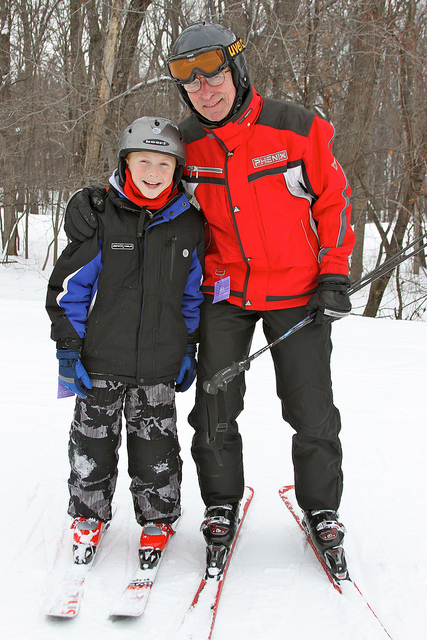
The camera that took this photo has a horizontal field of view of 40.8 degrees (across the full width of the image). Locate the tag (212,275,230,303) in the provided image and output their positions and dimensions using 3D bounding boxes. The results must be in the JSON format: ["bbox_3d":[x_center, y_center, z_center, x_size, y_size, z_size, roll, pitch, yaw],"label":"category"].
[{"bbox_3d":[0.027,-0.113,2.160,0.007,0.091,0.084,22,-35,-30],"label":"tag"}]

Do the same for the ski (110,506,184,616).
[{"bbox_3d":[-0.240,0.876,2.064,0.087,0.030,0.670,7,17,8],"label":"ski"}]

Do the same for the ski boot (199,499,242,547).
[{"bbox_3d":[0.026,0.744,2.126,0.125,0.111,0.299,2,24,5],"label":"ski boot"}]

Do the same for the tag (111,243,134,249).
[{"bbox_3d":[-0.327,-0.259,2.010,0.077,0.022,0.008,-2,0,-7],"label":"tag"}]
